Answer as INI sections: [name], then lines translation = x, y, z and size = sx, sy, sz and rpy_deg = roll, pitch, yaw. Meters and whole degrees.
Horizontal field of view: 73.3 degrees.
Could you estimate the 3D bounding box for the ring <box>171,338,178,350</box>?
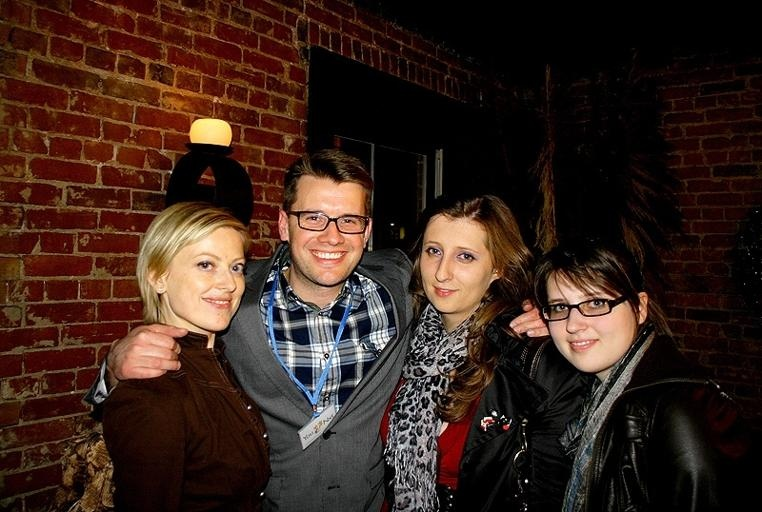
[ring]
translation = -1.038, 0.444, 2.561
size = 0.013, 0.038, 0.029
rpy_deg = 1, 5, 6
